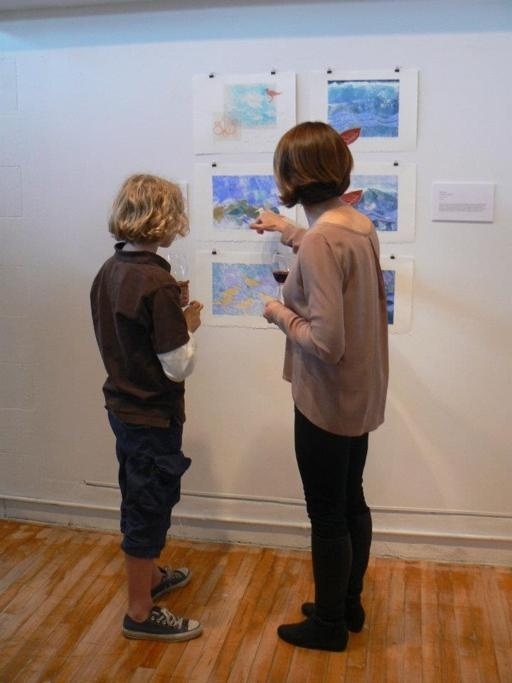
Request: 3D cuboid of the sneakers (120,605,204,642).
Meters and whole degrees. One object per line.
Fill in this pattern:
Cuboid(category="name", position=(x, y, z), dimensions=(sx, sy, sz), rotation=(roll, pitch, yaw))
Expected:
Cuboid(category="sneakers", position=(-0.291, 0.893, 2.014), dimensions=(0.272, 0.100, 0.096), rotation=(1, -6, -5))

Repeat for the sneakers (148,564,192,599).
Cuboid(category="sneakers", position=(-0.307, 0.838, 2.235), dimensions=(0.061, 0.062, 0.165), rotation=(14, 19, 35))

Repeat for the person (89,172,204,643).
Cuboid(category="person", position=(-0.306, 0.237, 1.836), dimensions=(0.287, 1.416, 0.232), rotation=(-4, 12, -14))

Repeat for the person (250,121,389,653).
Cuboid(category="person", position=(0.197, 0.185, 1.775), dimensions=(0.313, 1.521, 0.502), rotation=(3, 12, 18))
